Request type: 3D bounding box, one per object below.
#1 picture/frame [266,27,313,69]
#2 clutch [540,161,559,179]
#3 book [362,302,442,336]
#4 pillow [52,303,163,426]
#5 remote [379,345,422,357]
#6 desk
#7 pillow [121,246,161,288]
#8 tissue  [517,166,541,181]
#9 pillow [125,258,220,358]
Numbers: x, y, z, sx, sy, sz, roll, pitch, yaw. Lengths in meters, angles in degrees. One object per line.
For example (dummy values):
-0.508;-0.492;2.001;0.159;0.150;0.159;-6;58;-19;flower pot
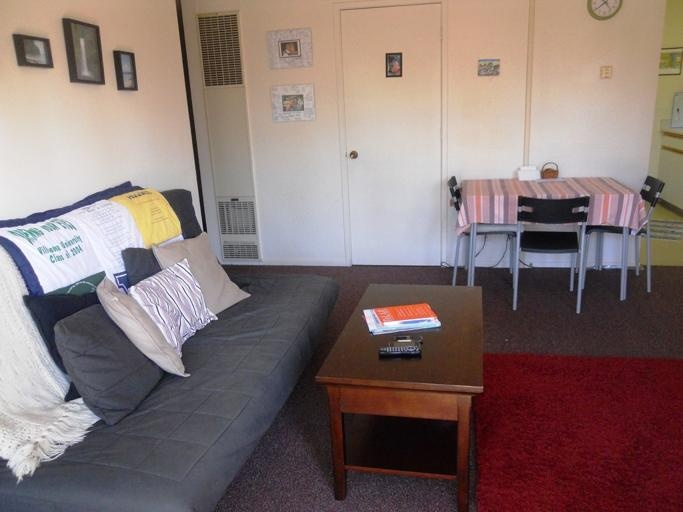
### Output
-0.457;-1.913;4.596;0.414;0.317;0.039;2;24;12;picture/frame
1.840;-0.746;4.404;0.158;0.135;0.196;1;17;18;clutch
0.293;0.309;2.459;0.236;0.043;0.172;-2;19;-3;book
-0.999;0.466;2.102;0.229;0.281;0.401;-9;20;7;pillow
0.259;0.415;2.188;0.131;0.024;0.068;-1;11;4;remote
1.628;-0.362;4.097;1.603;0.950;1.039;1;24;9;desk
-1.054;0.065;2.632;0.048;0.178;0.201;-22;0;39;pillow
1.636;-0.713;4.361;0.162;0.091;0.146;2;15;13;tissue 
-0.886;0.293;2.582;0.144;0.383;0.528;-25;7;14;pillow
